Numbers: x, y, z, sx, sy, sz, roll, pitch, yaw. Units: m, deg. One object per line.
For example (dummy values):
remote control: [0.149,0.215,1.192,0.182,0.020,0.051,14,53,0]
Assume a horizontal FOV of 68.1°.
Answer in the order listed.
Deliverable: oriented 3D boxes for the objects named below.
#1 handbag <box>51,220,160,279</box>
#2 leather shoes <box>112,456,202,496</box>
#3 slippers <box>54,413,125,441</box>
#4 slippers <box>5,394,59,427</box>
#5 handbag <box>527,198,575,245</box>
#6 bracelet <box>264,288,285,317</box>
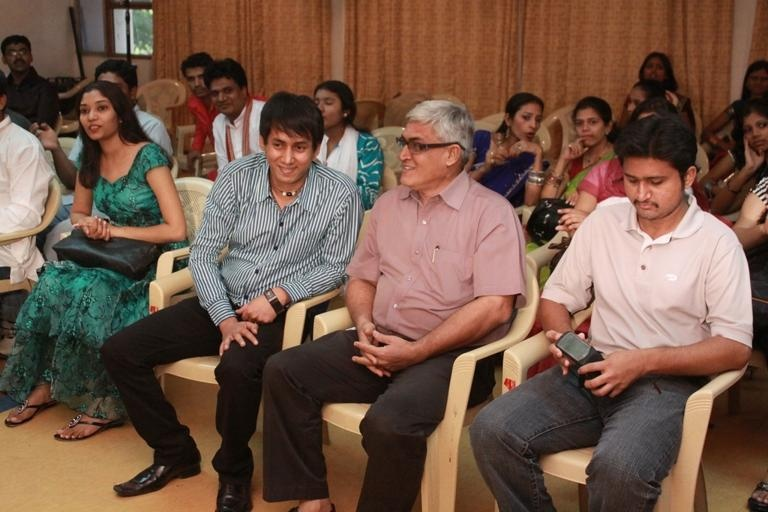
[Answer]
handbag: [-1.349,-0.060,2.762,0.391,0.127,0.245,11,31,10]
leather shoes: [-0.955,0.936,2.429,0.358,0.140,0.120,-7,10,-33]
slippers: [-1.407,0.817,2.714,0.256,0.080,0.113,-1,25,-24]
slippers: [-1.759,0.780,2.843,0.072,0.059,0.208,18,27,27]
handbag: [0.808,-0.175,2.845,0.175,0.243,0.250,35,23,8]
bracelet: [-0.463,0.197,2.400,0.052,0.074,0.081,-36,54,-14]
